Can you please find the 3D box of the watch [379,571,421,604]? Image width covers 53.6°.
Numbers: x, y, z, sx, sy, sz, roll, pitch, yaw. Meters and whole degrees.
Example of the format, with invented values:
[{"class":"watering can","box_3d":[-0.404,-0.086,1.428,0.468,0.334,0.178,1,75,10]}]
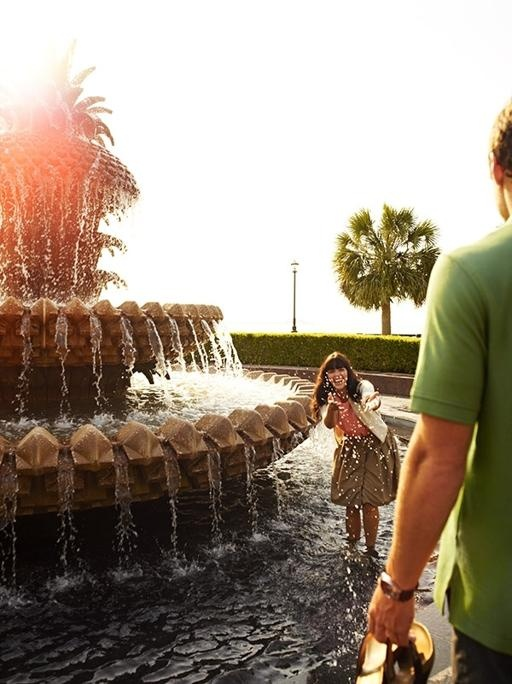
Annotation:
[{"class":"watch","box_3d":[0.316,0.542,1.118,0.071,0.049,0.076,36,-22,-16]}]
